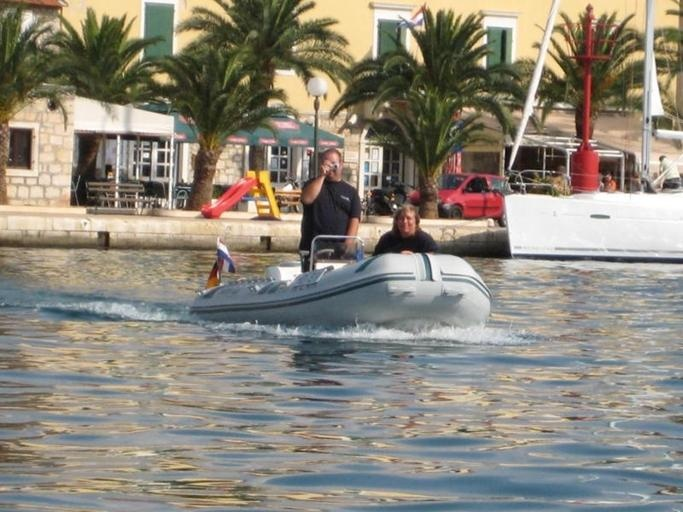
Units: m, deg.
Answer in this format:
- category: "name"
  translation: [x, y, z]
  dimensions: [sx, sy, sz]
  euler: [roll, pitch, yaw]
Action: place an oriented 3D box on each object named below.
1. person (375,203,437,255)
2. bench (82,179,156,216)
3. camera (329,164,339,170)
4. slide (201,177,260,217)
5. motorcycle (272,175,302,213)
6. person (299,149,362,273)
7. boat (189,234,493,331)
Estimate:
- category: "person"
  translation: [1.083, -0.413, 25.516]
  dimensions: [0.914, 0.855, 0.766]
  euler: [-1, 5, -6]
- category: "bench"
  translation: [-6.190, -1.580, 42.530]
  dimensions: [1.566, 0.636, 0.562]
  euler: [3, -19, 9]
- category: "camera"
  translation: [-0.119, -1.448, 25.283]
  dimensions: [0.108, 0.086, 0.033]
  euler: [-4, 13, -29]
- category: "slide"
  translation: [-2.902, -1.507, 40.580]
  dimensions: [0.628, 0.439, 2.208]
  euler: [-2, 32, 43]
- category: "motorcycle"
  translation: [-1.699, -1.690, 43.725]
  dimensions: [1.096, 0.521, 1.639]
  euler: [0, 10, 3]
- category: "person"
  translation: [-0.187, -0.765, 25.498]
  dimensions: [0.843, 1.922, 0.726]
  euler: [-2, 8, -10]
- category: "boat"
  translation: [0.051, 0.594, 25.584]
  dimensions: [2.754, 1.718, 3.869]
  euler: [0, 4, -28]
